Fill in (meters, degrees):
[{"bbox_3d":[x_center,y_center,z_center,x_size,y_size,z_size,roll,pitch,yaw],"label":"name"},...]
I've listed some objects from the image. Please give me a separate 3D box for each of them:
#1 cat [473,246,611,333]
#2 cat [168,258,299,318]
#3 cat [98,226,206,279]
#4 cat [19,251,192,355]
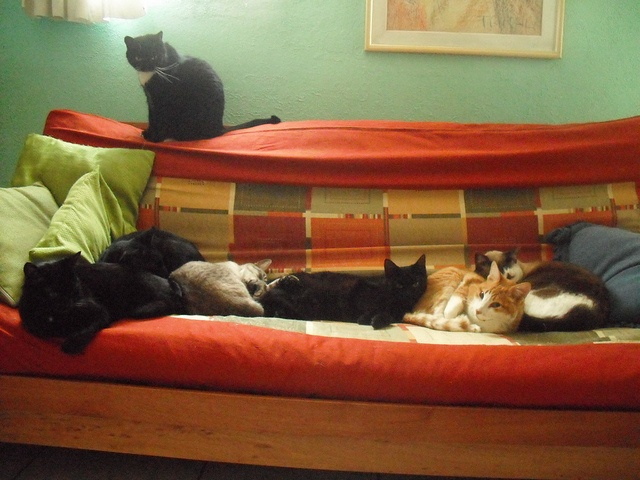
[{"bbox_3d":[0.748,0.166,1.961,0.322,0.126,0.240,21,50,41],"label":"cat"},{"bbox_3d":[-0.291,0.196,2.004,0.212,0.084,0.258,-9,3,25],"label":"cat"},{"bbox_3d":[-0.619,0.063,2.045,0.344,0.173,0.196,-17,3,-31],"label":"cat"},{"bbox_3d":[-0.680,0.179,1.825,0.273,0.219,0.441,8,6,44],"label":"cat"}]
